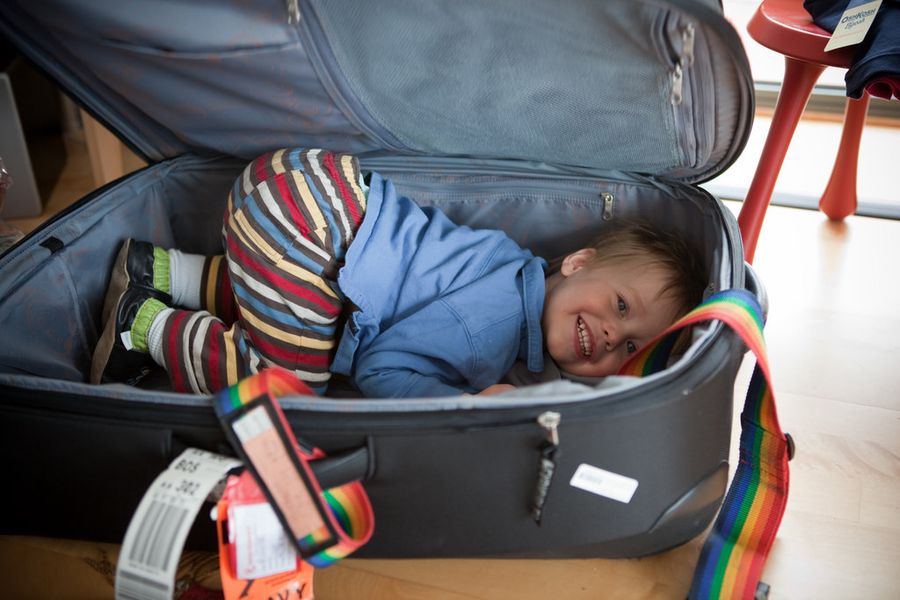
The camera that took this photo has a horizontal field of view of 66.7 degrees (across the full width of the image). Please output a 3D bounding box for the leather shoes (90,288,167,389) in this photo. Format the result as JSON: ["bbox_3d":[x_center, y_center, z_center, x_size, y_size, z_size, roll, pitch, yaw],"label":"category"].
[{"bbox_3d":[-0.669,0.052,1.431,0.108,0.088,0.276,-11,42,-11],"label":"leather shoes"}]

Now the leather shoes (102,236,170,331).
[{"bbox_3d":[-0.645,-0.046,1.431,0.101,0.087,0.249,1,34,-13],"label":"leather shoes"}]

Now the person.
[{"bbox_3d":[-0.115,0.036,1.514,1.220,0.586,0.489,10,14,-4],"label":"person"}]
